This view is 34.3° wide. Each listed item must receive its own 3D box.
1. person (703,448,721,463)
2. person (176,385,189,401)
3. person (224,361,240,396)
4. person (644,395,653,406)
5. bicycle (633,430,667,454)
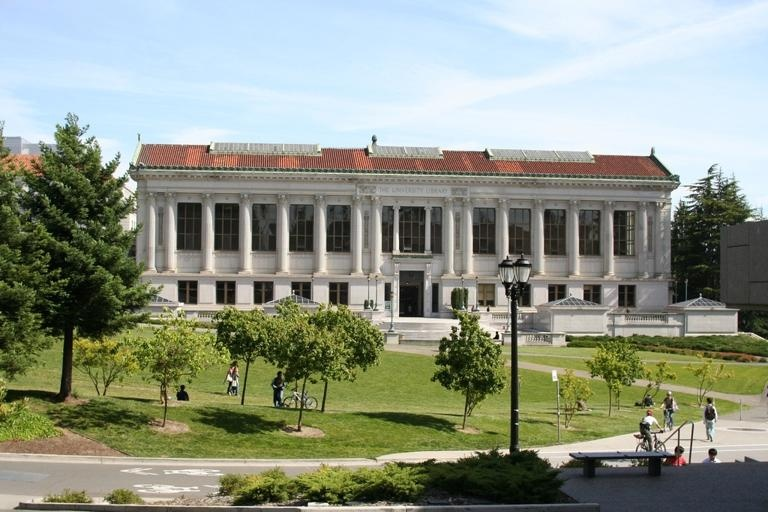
[{"bbox_3d":[19.446,11.946,73.792,0.959,0.751,0.534,0,-12,3],"label":"person"},{"bbox_3d":[-13.001,8.885,79.963,0.762,0.949,1.191,2,-4,-10],"label":"person"},{"bbox_3d":[-10.239,8.305,83.510,0.836,2.246,1.207,2,-4,-9],"label":"person"},{"bbox_3d":[18.778,10.375,88.519,0.617,0.829,0.819,-3,3,23],"label":"person"},{"bbox_3d":[16.513,11.380,75.524,2.626,1.255,1.216,-2,-4,-14],"label":"bicycle"}]
